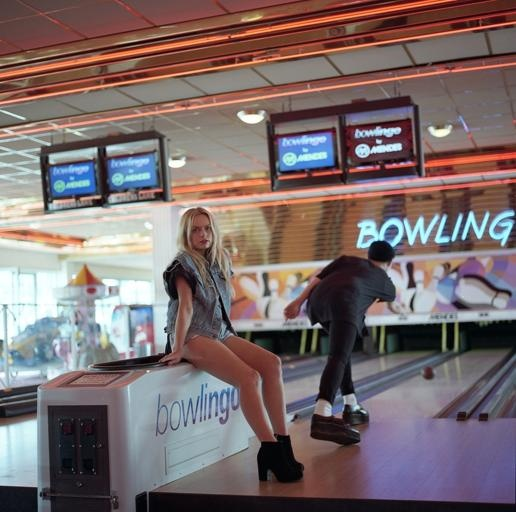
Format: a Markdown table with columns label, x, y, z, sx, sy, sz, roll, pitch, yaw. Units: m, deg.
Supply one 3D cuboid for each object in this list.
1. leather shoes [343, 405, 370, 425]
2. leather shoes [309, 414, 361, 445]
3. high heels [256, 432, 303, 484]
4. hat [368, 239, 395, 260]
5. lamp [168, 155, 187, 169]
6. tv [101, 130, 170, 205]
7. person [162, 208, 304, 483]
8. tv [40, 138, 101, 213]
| label | x | y | z | sx | sy | sz | roll | pitch | yaw |
| --- | --- | --- | --- | --- | --- | --- | --- | --- | --- |
| leather shoes | 0.603 | 0.986 | 3.368 | 0.098 | 0.116 | 0.188 | 0 | 1 | 38 |
| leather shoes | 0.377 | 0.867 | 2.712 | 0.332 | 0.119 | 0.110 | 17 | 6 | -22 |
| high heels | 0.088 | 0.860 | 2.291 | 0.210 | 0.175 | 0.158 | -1 | -2 | 3 |
| hat | 0.735 | -0.039 | 3.181 | 0.123 | 0.133 | 0.146 | 2 | 3 | 11 |
| lamp | -1.281 | -1.489 | 8.457 | 0.329 | 0.066 | 0.311 | 1 | -11 | -16 |
| tv | -1.228 | -0.830 | 5.339 | 0.669 | 0.557 | 0.232 | -8 | -10 | 7 |
| person | -0.171 | 0.358 | 2.519 | 0.580 | 1.245 | 0.702 | -3 | -5 | -15 |
| tv | -1.856 | -0.786 | 5.559 | 0.657 | 0.540 | 0.344 | -5 | 6 | 10 |
